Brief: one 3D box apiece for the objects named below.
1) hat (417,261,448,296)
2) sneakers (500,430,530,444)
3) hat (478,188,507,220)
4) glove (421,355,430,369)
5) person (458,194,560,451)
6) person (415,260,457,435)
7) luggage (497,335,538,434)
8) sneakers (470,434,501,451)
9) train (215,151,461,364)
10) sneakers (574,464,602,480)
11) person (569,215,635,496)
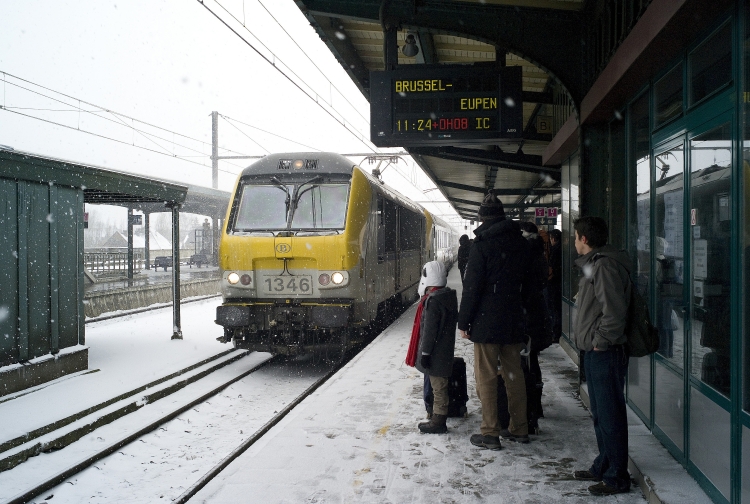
[{"bbox_3d":[0.658,0.295,6.178,0.288,0.446,0.402,1,-1,-32],"label":"hat"},{"bbox_3d":[1.545,2.040,5.778,0.276,0.172,0.120,8,-3,18],"label":"sneakers"},{"bbox_3d":[1.309,-0.496,5.916,0.242,0.285,0.335,-1,-7,-2],"label":"hat"},{"bbox_3d":[0.548,1.240,5.914,0.082,0.153,0.145,0,-11,-2],"label":"glove"},{"bbox_3d":[1.386,0.729,5.749,1.079,2.717,0.424,-7,6,-31],"label":"person"},{"bbox_3d":[0.711,1.094,6.027,0.517,1.942,0.338,-3,5,6],"label":"person"},{"bbox_3d":[1.665,1.493,6.008,0.431,1.154,0.257,-4,-6,35],"label":"luggage"},{"bbox_3d":[1.204,2.038,5.741,0.319,0.179,0.141,5,-2,34],"label":"sneakers"},{"bbox_3d":[-0.851,0.107,11.034,2.297,4.187,5.292,-3,6,17],"label":"train"},{"bbox_3d":[2.067,2.144,5.105,0.263,0.125,0.105,2,-8,10],"label":"sneakers"},{"bbox_3d":[2.119,1.095,4.876,0.540,2.282,0.318,-1,6,27],"label":"person"}]
